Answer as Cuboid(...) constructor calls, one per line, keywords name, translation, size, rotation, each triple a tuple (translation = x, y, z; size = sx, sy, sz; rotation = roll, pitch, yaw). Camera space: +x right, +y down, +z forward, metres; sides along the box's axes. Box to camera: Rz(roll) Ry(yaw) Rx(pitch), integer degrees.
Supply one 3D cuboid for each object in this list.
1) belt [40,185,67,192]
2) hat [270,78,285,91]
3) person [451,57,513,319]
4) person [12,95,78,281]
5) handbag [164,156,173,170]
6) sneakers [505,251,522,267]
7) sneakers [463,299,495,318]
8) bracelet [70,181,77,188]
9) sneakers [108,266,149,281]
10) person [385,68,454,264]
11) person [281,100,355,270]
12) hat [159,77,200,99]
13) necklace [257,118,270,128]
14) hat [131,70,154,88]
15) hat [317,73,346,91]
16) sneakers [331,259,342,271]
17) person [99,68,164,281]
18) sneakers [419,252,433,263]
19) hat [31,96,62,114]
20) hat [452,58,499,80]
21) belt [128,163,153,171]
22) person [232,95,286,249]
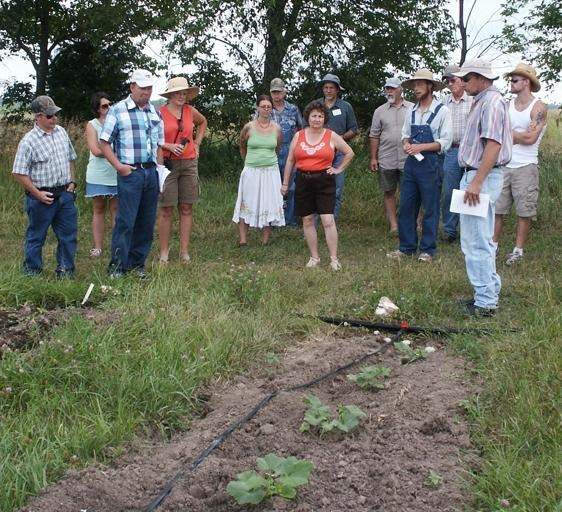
Cuboid(name="belt", translation=(-2.349, -0.698, 6.815), size=(0.086, 0.081, 0.299), rotation=(3, 6, 37))
Cuboid(name="hat", translation=(-0.046, -2.436, 9.331), size=(0.186, 0.223, 0.399), rotation=(-1, 5, 3))
Cuboid(name="person", translation=(1.785, -0.588, 5.806), size=(0.443, 2.262, 0.393), rotation=(1, 5, 19))
Cuboid(name="person", translation=(-2.404, -0.697, 6.790), size=(0.704, 1.886, 0.549), rotation=(-5, 6, -37))
Cuboid(name="handbag", translation=(-1.302, -1.066, 7.552), size=(0.082, 0.166, 0.264), rotation=(-2, 5, -10))
Cuboid(name="sneakers", translation=(2.742, 0.032, 7.810), size=(0.107, 0.138, 0.294), rotation=(4, 17, 44))
Cuboid(name="sneakers", translation=(1.796, 0.487, 6.001), size=(0.248, 0.118, 0.113), rotation=(8, 22, 32))
Cuboid(name="bracelet", translation=(-2.206, -0.754, 6.989), size=(0.055, 0.019, 0.059), rotation=(24, 24, -14))
Cuboid(name="sneakers", translation=(-1.621, 0.181, 6.945), size=(0.437, 0.200, 0.170), rotation=(-4, 11, -7))
Cuboid(name="person", translation=(1.726, -1.131, 8.175), size=(0.627, 2.347, 0.735), rotation=(-5, 6, -41))
Cuboid(name="person", translation=(0.382, -0.864, 7.921), size=(0.817, 2.005, 0.576), rotation=(1, 5, 25))
Cuboid(name="hat", translation=(-1.225, -2.070, 8.026), size=(0.416, 0.331, 0.990), rotation=(-1, 5, -5))
Cuboid(name="necklace", translation=(-0.242, -1.779, 8.817), size=(0.180, 0.124, 0.105), rotation=(-1, 5, -5))
Cuboid(name="hat", translation=(-1.402, -1.798, 6.602), size=(0.204, 0.220, 0.359), rotation=(-2, 5, -12))
Cuboid(name="hat", translation=(0.724, -2.591, 9.681), size=(0.290, 0.249, 0.693), rotation=(-1, 5, 2))
Cuboid(name="sneakers", translation=(0.645, 0.114, 7.744), size=(0.146, 0.213, 0.107), rotation=(1, -4, -12))
Cuboid(name="person", translation=(-1.555, -0.852, 6.884), size=(0.599, 2.090, 0.684), rotation=(-2, 5, -12))
Cuboid(name="sneakers", translation=(1.770, 0.014, 8.076), size=(0.170, 0.103, 0.285), rotation=(0, 5, 14))
Cuboid(name="hat", translation=(-2.425, -1.502, 6.707), size=(0.287, 0.182, 0.218), rotation=(0, 26, 4))
Cuboid(name="hat", translation=(1.671, -1.625, 5.641), size=(0.355, 0.209, 0.257), rotation=(2, 6, 32))
Cuboid(name="belt", translation=(-1.441, -0.941, 6.875), size=(0.062, 0.096, 0.341), rotation=(2, 6, 29))
Cuboid(name="person", translation=(-0.303, -1.141, 8.965), size=(0.621, 2.001, 0.472), rotation=(3, 6, 34))
